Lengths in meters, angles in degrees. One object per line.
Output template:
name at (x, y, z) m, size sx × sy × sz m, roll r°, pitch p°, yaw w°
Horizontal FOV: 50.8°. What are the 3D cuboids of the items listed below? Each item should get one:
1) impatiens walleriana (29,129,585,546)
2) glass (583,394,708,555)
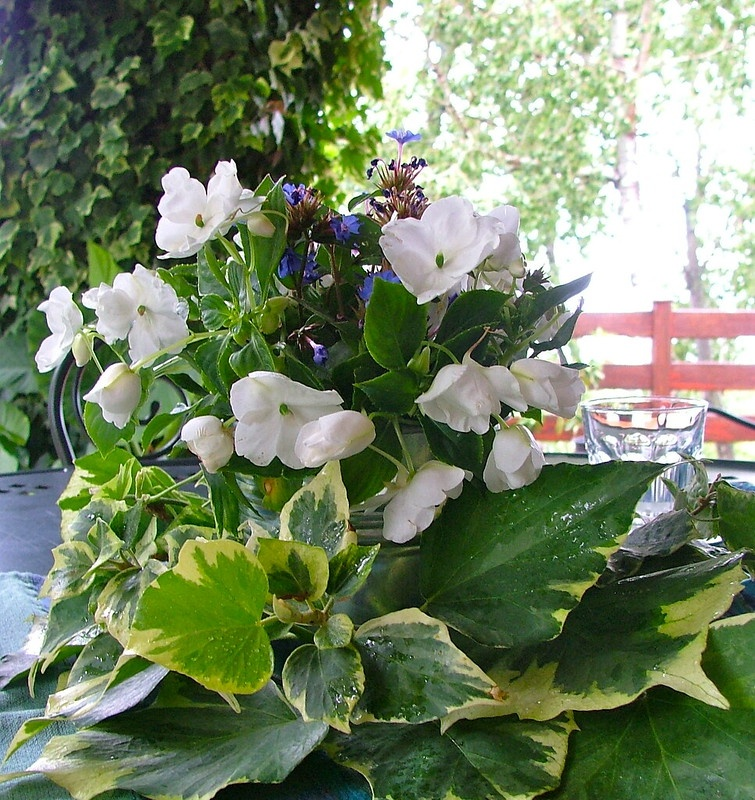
impatiens walleriana at (-0.043, -0.048, 0.475) m, size 0.275 × 0.129 × 0.203 m, roll 2°, pitch -38°, yaw 30°
glass at (0.240, 0.036, 0.688) m, size 0.090 × 0.102 × 0.092 m, roll 9°, pitch 25°, yaw 21°
